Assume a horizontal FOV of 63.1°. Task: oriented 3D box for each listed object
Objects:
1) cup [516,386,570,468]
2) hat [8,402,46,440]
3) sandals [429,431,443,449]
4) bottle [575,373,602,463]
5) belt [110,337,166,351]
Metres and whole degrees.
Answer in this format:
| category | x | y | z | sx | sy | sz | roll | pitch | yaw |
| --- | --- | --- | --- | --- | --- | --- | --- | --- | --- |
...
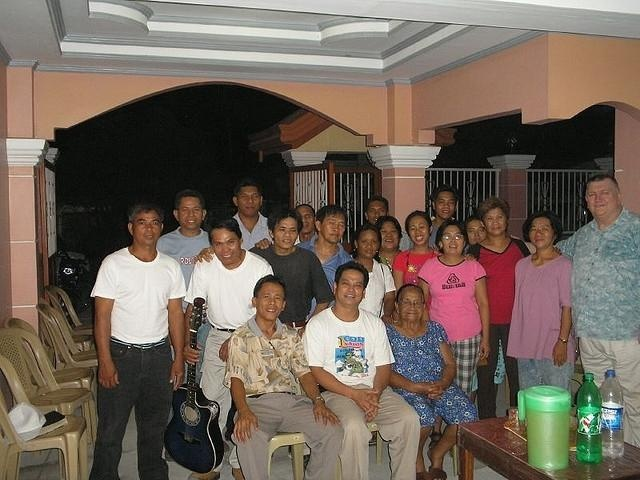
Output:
| category | x | y | z | sx | sy | sz | roll | pitch | yaw |
| --- | --- | --- | --- | --- | --- | --- | --- | --- | --- |
| cup | 1.264 | 1.053 | 2.901 | 0.227 | 0.448 | 0.158 | -1 | 4 | 24 |
| hat | -2.072 | 1.270 | 3.678 | 0.224 | 0.217 | 0.179 | -4 | 4 | -21 |
| sandals | 1.016 | 1.748 | 4.575 | 0.095 | 0.097 | 0.257 | -4 | -10 | 8 |
| bottle | 1.580 | 1.020 | 3.062 | 0.135 | 0.512 | 0.236 | 0 | 5 | 28 |
| belt | -1.321 | 0.747 | 3.805 | 0.385 | 0.102 | 0.084 | -3 | 4 | -18 |
